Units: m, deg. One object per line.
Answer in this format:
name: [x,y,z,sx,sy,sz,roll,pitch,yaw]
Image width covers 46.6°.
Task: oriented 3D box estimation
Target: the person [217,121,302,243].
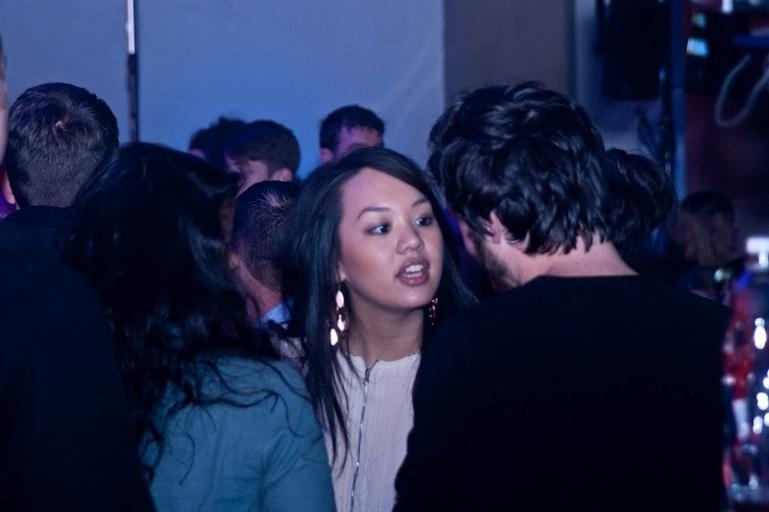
person: [-0.736,-0.451,5.711,0.585,0.834,0.542,11,-11,-16]
